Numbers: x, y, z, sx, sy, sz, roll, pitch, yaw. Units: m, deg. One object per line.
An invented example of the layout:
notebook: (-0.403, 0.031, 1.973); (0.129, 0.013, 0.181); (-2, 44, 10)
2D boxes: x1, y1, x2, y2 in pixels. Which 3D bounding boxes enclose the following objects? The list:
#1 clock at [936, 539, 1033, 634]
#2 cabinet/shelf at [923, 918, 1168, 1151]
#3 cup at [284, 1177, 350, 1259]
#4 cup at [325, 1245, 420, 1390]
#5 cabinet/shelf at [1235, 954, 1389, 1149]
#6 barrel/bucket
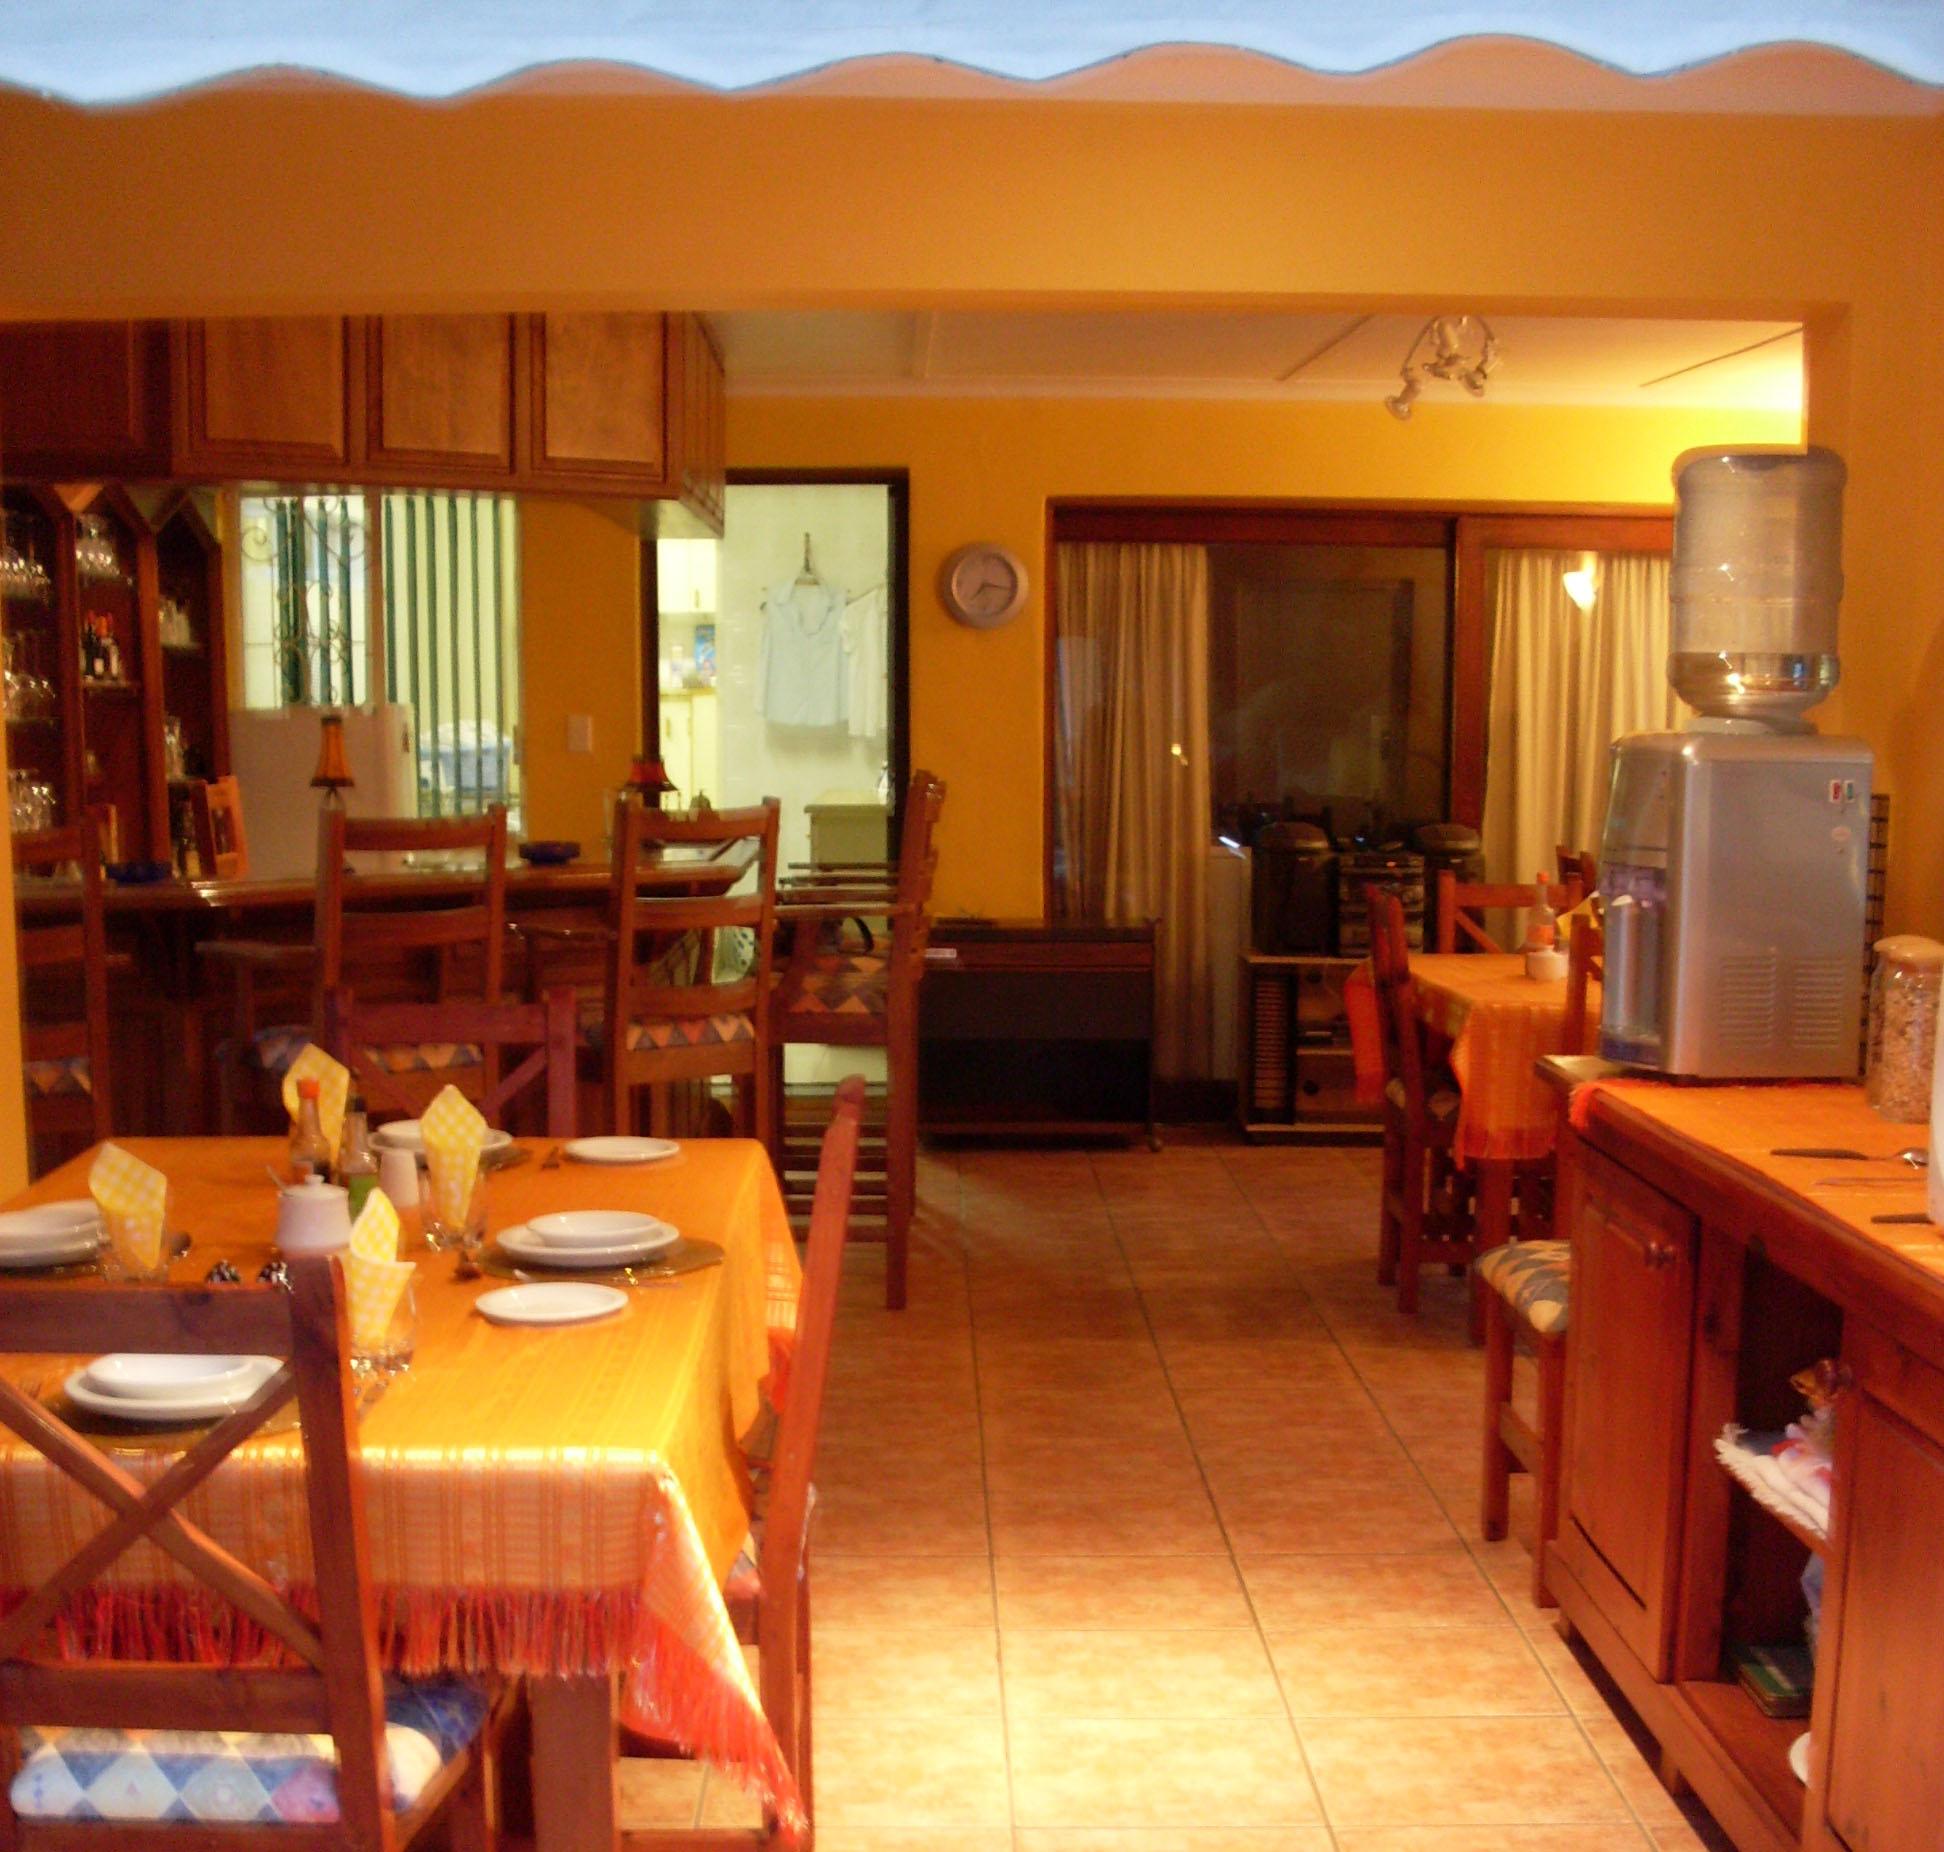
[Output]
clock: (0.042, -1.151, 6.540); (0.268, 0.288, 0.099); (3, 5, -1)
cabinet/shelf: (0.303, 0.203, 6.449); (0.889, 0.774, 0.550); (2, 28, 27)
cup: (-0.626, 0.282, 1.828); (0.058, 0.070, 0.060); (1, 6, 0)
cup: (-0.579, 0.357, 1.850); (0.071, 0.105, 0.060); (12, -29, -34)
cabinet/shelf: (1.243, 0.371, 6.529); (0.587, 0.598, 0.337); (0, 14, 8)
barrel/bucket: (1.164, -0.505, 2.851); (0.230, 0.389, 0.172); (3, 6, 21)
